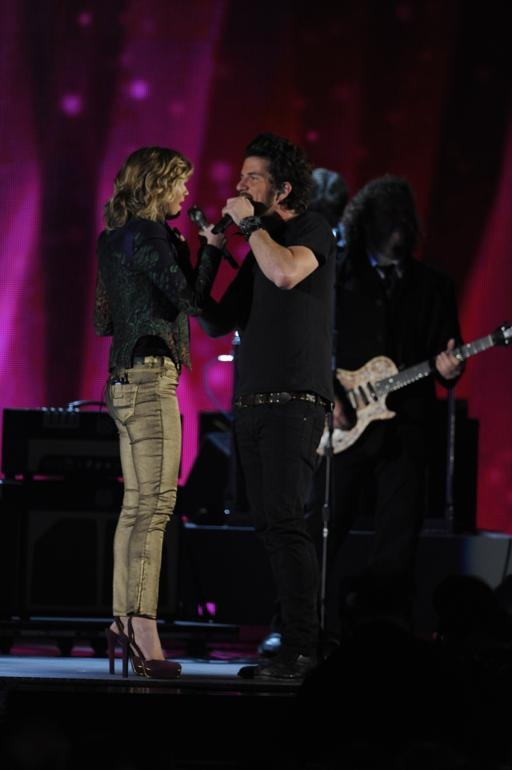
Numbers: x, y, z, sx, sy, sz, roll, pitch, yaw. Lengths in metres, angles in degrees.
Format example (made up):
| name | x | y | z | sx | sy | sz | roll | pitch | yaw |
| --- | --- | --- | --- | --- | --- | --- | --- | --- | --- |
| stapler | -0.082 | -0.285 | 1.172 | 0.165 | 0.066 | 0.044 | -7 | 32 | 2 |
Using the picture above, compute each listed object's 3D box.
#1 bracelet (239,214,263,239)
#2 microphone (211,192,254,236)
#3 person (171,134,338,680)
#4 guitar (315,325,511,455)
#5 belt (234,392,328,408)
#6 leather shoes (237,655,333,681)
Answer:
| name | x | y | z | sx | sy | sz | roll | pitch | yaw |
| --- | --- | --- | --- | --- | --- | --- | --- | --- | --- |
| bracelet | -0.016 | -0.420 | 2.274 | 0.055 | 0.062 | 0.028 | 5 | 8 | 0 |
| microphone | -0.080 | -0.469 | 2.401 | 0.081 | 0.151 | 0.037 | 40 | 1 | -39 |
| person | 0.025 | 0.018 | 2.324 | 0.439 | 1.179 | 0.407 | 5 | 2 | 11 |
| guitar | 0.596 | 0.024 | 3.345 | 0.635 | 0.209 | 0.097 | -22 | 4 | 8 |
| belt | 0.066 | 0.044 | 2.309 | 0.253 | 0.038 | 0.134 | 4 | 1 | 3 |
| leather shoes | 0.072 | 0.719 | 2.169 | 0.223 | 0.082 | 0.076 | 1 | -17 | 6 |
